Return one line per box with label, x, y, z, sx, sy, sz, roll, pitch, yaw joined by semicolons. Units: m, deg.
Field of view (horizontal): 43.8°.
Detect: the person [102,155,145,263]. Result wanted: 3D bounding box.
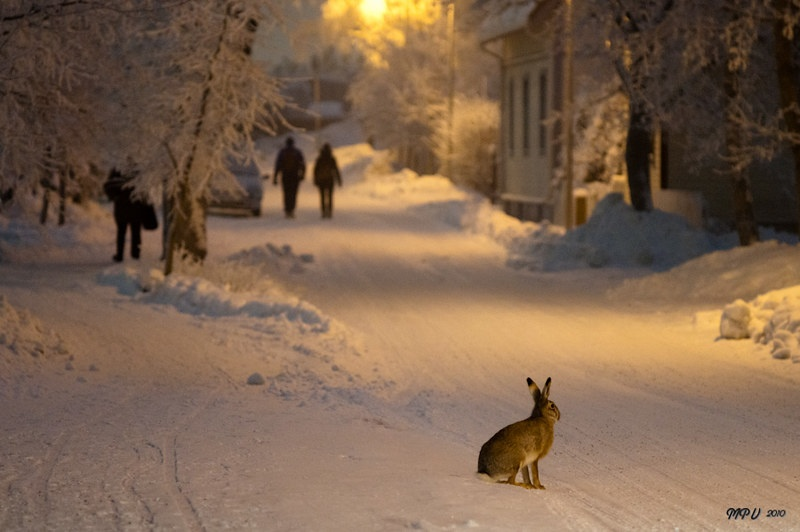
person;-6.265;-1.103;22.541;0.799;2.231;1.484;-1;13;-17
